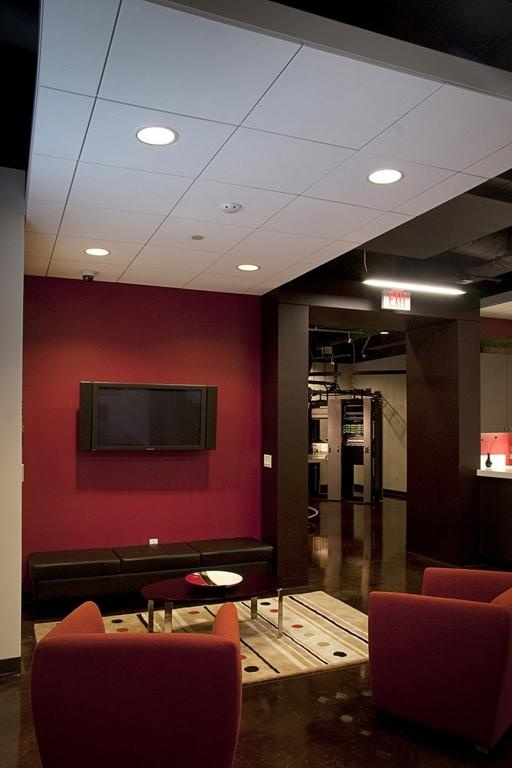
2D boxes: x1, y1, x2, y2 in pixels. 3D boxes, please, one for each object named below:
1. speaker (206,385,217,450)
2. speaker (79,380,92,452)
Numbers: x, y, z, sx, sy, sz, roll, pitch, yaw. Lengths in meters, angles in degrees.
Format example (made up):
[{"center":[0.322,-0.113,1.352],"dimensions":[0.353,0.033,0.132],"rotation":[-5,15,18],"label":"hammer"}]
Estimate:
[{"center":[-0.416,0.324,5.556],"dimensions":[0.079,0.587,0.134],"rotation":[-3,-4,45],"label":"speaker"},{"center":[-1.498,0.280,5.080],"dimensions":[0.102,0.583,0.073],"rotation":[2,-3,-33],"label":"speaker"}]
